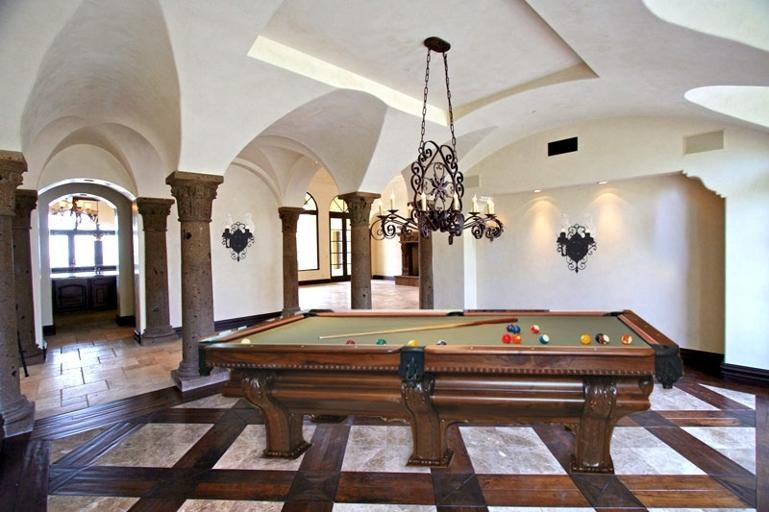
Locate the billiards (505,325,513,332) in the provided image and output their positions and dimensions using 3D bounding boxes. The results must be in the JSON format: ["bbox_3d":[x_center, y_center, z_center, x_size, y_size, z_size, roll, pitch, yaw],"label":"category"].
[{"bbox_3d":[1.486,0.855,6.202,0.048,0.062,0.059,7,22,1],"label":"billiards"}]

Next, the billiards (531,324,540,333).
[{"bbox_3d":[1.806,0.861,6.207,0.082,0.044,0.081,21,9,13],"label":"billiards"}]

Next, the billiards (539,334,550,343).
[{"bbox_3d":[1.816,0.935,5.942,0.094,0.041,0.091,-2,7,-15],"label":"billiards"}]

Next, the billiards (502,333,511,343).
[{"bbox_3d":[1.411,0.934,5.967,0.091,0.088,0.086,-12,20,30],"label":"billiards"}]

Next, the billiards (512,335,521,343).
[{"bbox_3d":[1.510,0.937,5.946,0.079,0.070,0.082,-9,13,-23],"label":"billiards"}]

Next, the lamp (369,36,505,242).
[{"bbox_3d":[0.706,-1.546,6.787,1.678,2.424,1.656,6,12,31],"label":"lamp"}]
